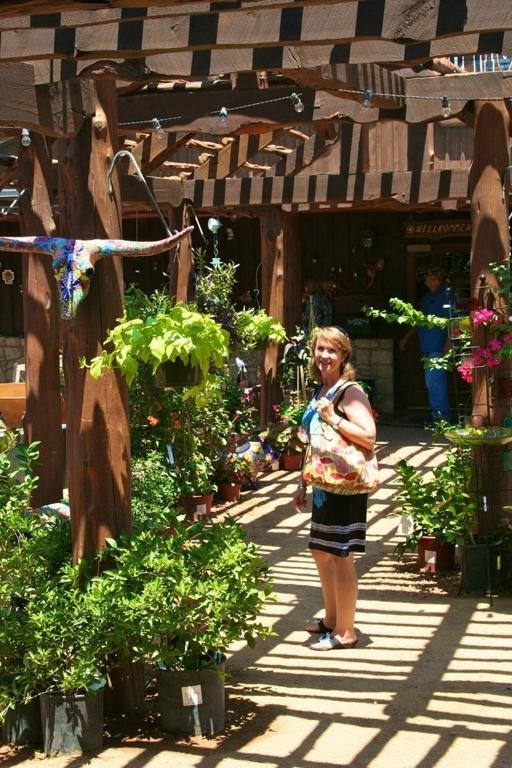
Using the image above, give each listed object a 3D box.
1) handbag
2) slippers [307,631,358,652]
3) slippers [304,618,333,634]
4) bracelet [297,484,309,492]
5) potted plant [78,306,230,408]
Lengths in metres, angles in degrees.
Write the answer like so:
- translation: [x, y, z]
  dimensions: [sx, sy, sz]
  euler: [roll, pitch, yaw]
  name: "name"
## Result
- translation: [0.375, 0.324, 3.729]
  dimensions: [0.344, 0.374, 0.238]
  euler: [0, 3, 8]
  name: "handbag"
- translation: [0.353, 1.229, 3.917]
  dimensions: [0.205, 0.057, 0.084]
  euler: [3, -7, -10]
  name: "slippers"
- translation: [0.316, 1.220, 4.162]
  dimensions: [0.159, 0.064, 0.057]
  euler: [1, 4, 24]
  name: "slippers"
- translation: [0.225, 0.503, 3.989]
  dimensions: [0.056, 0.042, 0.091]
  euler: [0, 3, 3]
  name: "bracelet"
- translation: [-0.405, -0.119, 3.204]
  dimensions: [0.559, 0.395, 0.489]
  euler: [-1, 3, -14]
  name: "potted plant"
